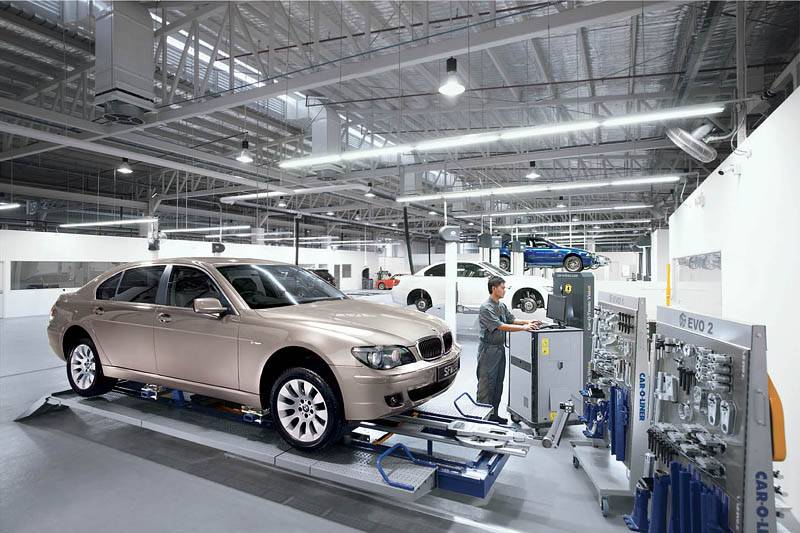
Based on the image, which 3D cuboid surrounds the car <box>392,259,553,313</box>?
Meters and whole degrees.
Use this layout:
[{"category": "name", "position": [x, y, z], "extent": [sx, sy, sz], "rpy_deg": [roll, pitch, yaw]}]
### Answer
[{"category": "car", "position": [2.041, 0.600, 14.559], "extent": [4.110, 1.080, 1.680], "rpy_deg": [-2, -3, 15]}]

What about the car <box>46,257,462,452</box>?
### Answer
[{"category": "car", "position": [-2.062, 0.864, 6.991], "extent": [5.294, 1.591, 2.386], "rpy_deg": [1, -2, 21]}]

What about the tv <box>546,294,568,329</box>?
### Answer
[{"category": "tv", "position": [2.370, 0.652, 7.335], "extent": [0.219, 0.500, 0.534], "rpy_deg": [8, -7, -14]}]

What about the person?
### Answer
[{"category": "person", "position": [1.417, 1.233, 7.185], "extent": [0.812, 2.115, 0.980], "rpy_deg": [9, 15, 32]}]
